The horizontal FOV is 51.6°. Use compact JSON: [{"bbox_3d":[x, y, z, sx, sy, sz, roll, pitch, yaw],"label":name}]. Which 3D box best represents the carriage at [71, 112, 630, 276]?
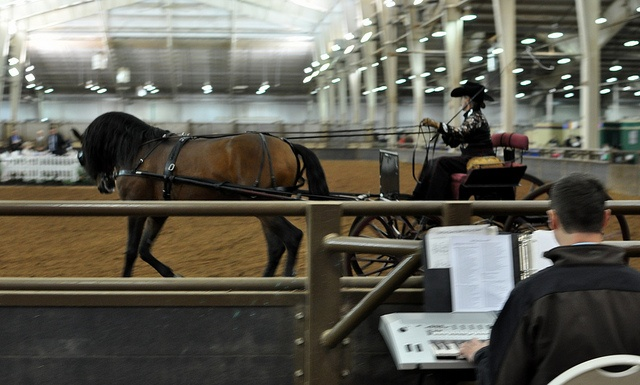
[{"bbox_3d":[0.149,0.224,9.078,6.008,2.683,1.252,-1,-29,4],"label":"carriage"}]

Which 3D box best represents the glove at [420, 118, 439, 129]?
[{"bbox_3d":[1.332,-0.842,8.150,0.086,0.114,0.381,-15,-15,33],"label":"glove"}]
